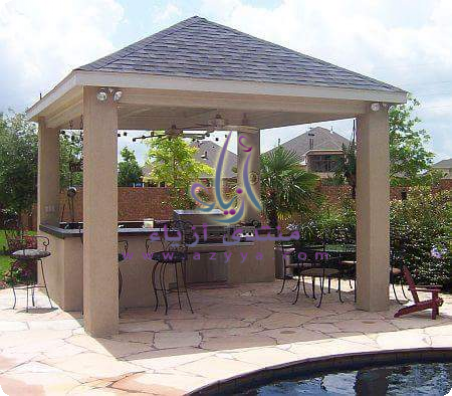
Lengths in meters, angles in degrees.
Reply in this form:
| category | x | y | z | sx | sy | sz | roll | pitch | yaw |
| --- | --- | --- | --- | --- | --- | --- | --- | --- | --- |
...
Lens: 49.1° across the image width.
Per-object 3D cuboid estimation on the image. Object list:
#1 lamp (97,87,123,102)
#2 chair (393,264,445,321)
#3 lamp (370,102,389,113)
| category | x | y | z | sx | sy | sz | roll | pitch | yaw |
| --- | --- | --- | --- | --- | --- | --- | --- | --- | --- |
| lamp | -1.503 | -1.321 | 6.382 | 0.221 | 0.100 | 0.210 | 0 | -23 | -24 |
| chair | 2.973 | 1.420 | 7.602 | 1.007 | 0.939 | 0.683 | 0 | 1 | 12 |
| lamp | 2.387 | -1.399 | 7.691 | 0.251 | 0.094 | 0.151 | -1 | 1 | -19 |
